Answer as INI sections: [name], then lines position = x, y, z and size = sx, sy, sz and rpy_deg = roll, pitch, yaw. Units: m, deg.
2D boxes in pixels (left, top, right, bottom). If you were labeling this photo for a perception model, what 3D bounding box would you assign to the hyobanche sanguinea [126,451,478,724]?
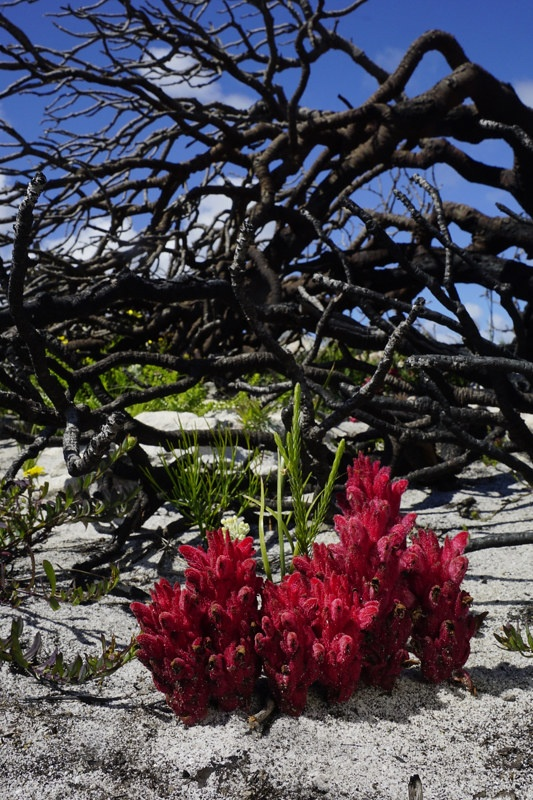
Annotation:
[hyobanche sanguinea]
position = 0.092, 0.546, 2.442
size = 0.779, 0.554, 0.736
rpy_deg = -9, -9, 33
